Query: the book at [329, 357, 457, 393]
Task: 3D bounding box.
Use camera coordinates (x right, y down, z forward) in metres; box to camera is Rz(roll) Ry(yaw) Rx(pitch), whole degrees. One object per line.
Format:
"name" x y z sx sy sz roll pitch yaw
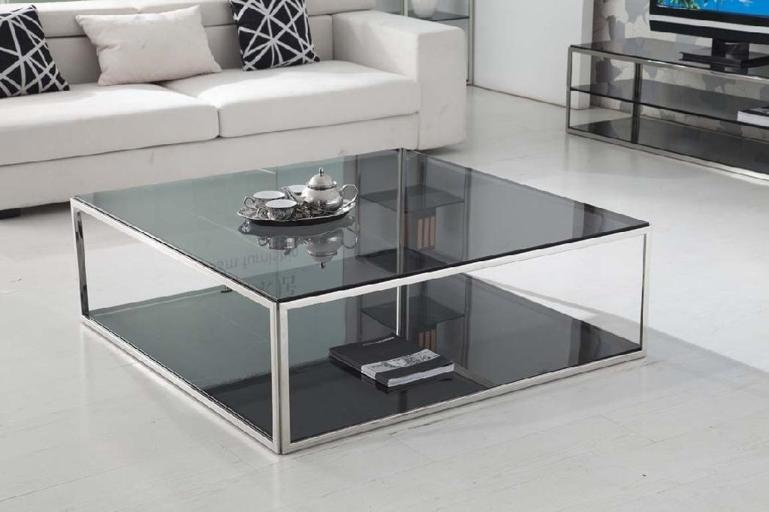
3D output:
"book" 0.045 0.385 2.184 0.384 0.055 0.138 -6 31 -4

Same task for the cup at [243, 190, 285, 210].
"cup" -0.459 -0.226 2.497 0.130 0.047 0.082 -5 27 -5

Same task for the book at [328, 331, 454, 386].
"book" 0.026 0.344 2.234 0.209 0.032 0.206 -9 19 -30

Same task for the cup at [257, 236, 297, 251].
"cup" -0.354 -0.045 2.208 0.088 0.029 0.062 -3 16 -15

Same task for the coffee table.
"coffee table" -0.194 0.084 2.408 1.413 0.458 1.332 -13 22 -33

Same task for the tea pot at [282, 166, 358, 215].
"tea pot" -0.242 -0.245 2.503 0.293 0.160 0.173 0 24 -9

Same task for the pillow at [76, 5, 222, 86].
"pillow" -1.503 -1.313 4.121 0.568 0.288 0.222 -11 26 -23
